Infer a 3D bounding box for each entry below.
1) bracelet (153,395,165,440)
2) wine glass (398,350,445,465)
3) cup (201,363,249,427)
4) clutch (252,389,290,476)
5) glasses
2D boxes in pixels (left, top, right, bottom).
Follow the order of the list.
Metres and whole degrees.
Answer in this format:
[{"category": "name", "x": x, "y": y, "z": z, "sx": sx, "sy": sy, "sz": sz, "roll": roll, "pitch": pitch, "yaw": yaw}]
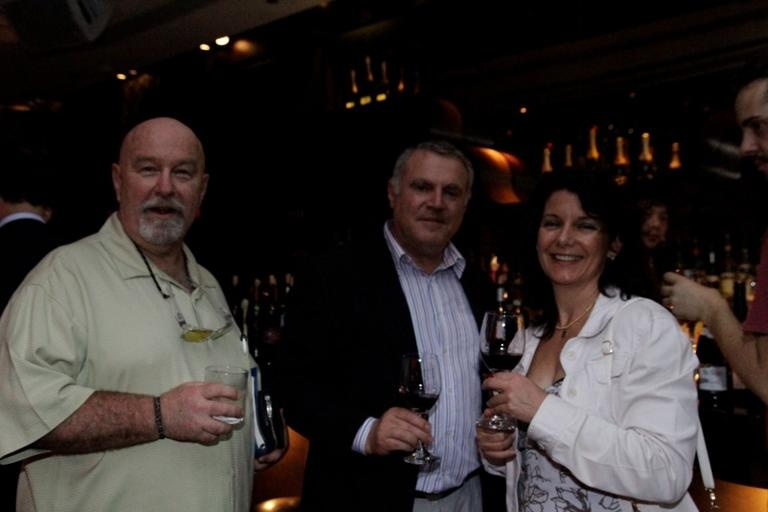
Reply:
[{"category": "bracelet", "x": -1.109, "y": 0.795, "z": 3.152, "sx": 0.040, "sy": 0.146, "sz": 0.151, "roll": -9, "pitch": -20, "yaw": -11}, {"category": "wine glass", "x": 0.203, "y": 0.866, "z": 3.553, "sx": 0.215, "sy": 0.672, "sz": 0.327, "roll": -1, "pitch": -2, "yaw": 1}, {"category": "cup", "x": -0.765, "y": 0.711, "z": 3.306, "sx": 0.275, "sy": 0.303, "sz": 0.277, "roll": 6, "pitch": -7, "yaw": 1}, {"category": "clutch", "x": -0.630, "y": 0.954, "z": 3.561, "sx": 0.126, "sy": 0.370, "sz": 0.226, "roll": -5, "pitch": -17, "yaw": 31}, {"category": "glasses", "x": -1.019, "y": 0.329, "z": 3.422, "sx": 0.229, "sy": 0.338, "sz": 0.093, "roll": -8, "pitch": -39, "yaw": -38}]
